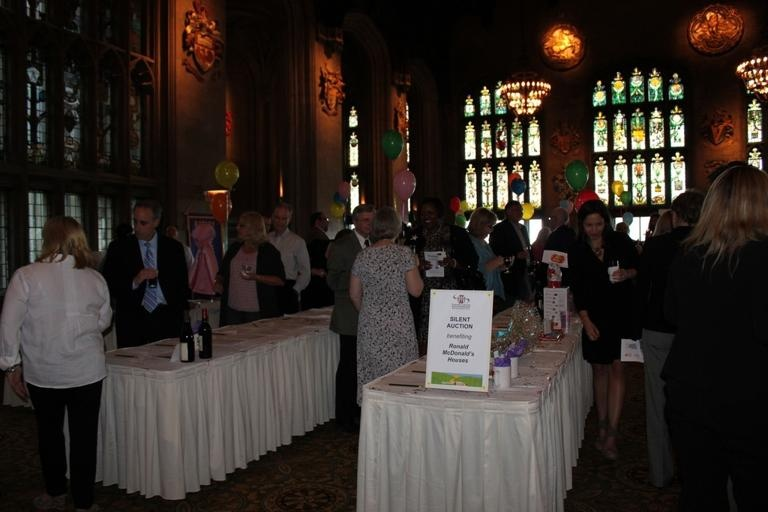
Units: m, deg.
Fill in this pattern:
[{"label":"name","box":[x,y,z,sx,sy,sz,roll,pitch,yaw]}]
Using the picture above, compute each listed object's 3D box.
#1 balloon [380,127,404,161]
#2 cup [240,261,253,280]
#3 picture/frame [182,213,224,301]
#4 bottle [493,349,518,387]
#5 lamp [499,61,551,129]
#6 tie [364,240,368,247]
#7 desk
[{"label":"balloon","box":[0.125,-1.693,10.481,0.436,0.615,0.482,0,-6,0]},{"label":"cup","box":[-1.301,0.141,6.705,0.110,0.168,0.160,3,2,9]},{"label":"picture/frame","box":[-1.952,0.006,7.694,0.340,0.790,0.309,3,5,11]},{"label":"bottle","box":[0.862,0.788,4.959,0.138,0.243,0.236,4,6,39]},{"label":"lamp","box":[3.472,-3.929,17.508,1.150,1.087,1.138,-2,1,-15]},{"label":"tie","box":[-0.162,-0.119,6.663,0.060,0.090,0.048,-1,-4,2]},{"label":"desk","box":[-0.362,0.964,5.558,3.546,1.713,1.517,3,12,18]}]
